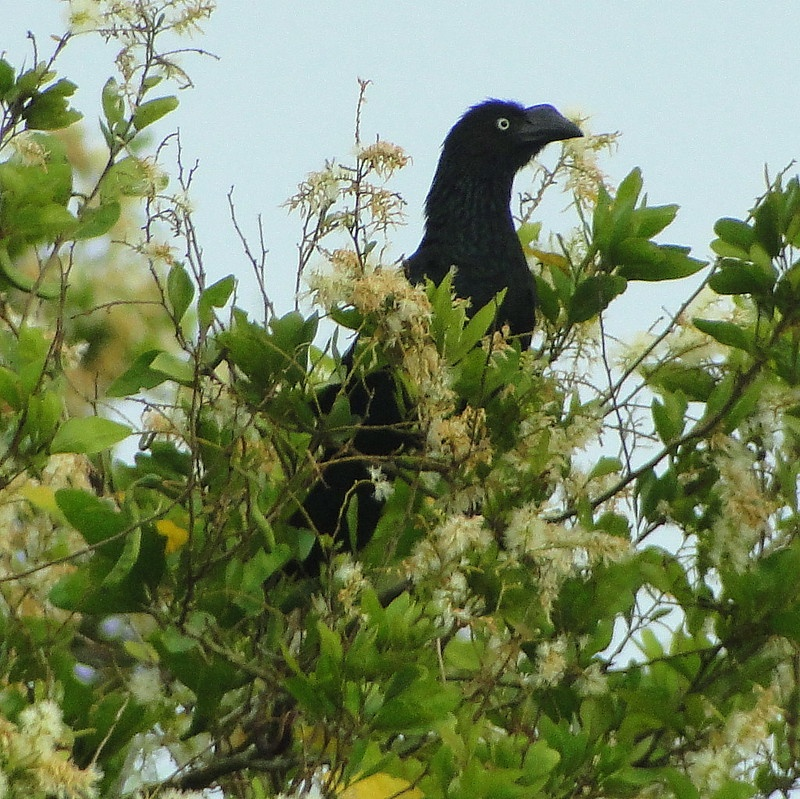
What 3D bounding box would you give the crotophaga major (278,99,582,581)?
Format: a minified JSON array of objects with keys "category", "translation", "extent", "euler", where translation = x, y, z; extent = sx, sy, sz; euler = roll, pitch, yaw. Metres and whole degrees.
[{"category":"crotophaga major","translation":[0.039,-0.009,2.477],"extent":[0.170,0.578,0.346],"euler":[29,-39,-30]}]
